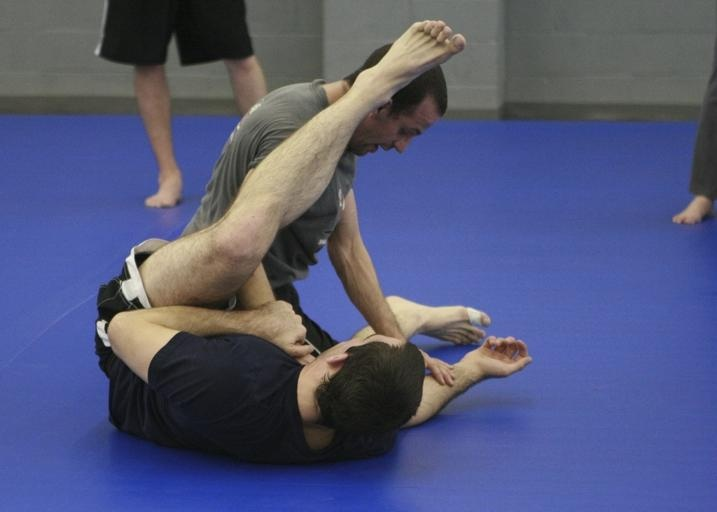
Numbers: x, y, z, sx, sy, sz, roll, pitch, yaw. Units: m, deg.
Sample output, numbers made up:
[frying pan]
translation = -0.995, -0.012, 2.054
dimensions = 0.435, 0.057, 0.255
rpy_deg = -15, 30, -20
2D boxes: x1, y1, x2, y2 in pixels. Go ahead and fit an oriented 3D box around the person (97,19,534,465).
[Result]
[person]
translation = -0.143, -0.045, 3.488
dimensions = 1.289, 1.363, 1.062
rpy_deg = 3, 16, -12
